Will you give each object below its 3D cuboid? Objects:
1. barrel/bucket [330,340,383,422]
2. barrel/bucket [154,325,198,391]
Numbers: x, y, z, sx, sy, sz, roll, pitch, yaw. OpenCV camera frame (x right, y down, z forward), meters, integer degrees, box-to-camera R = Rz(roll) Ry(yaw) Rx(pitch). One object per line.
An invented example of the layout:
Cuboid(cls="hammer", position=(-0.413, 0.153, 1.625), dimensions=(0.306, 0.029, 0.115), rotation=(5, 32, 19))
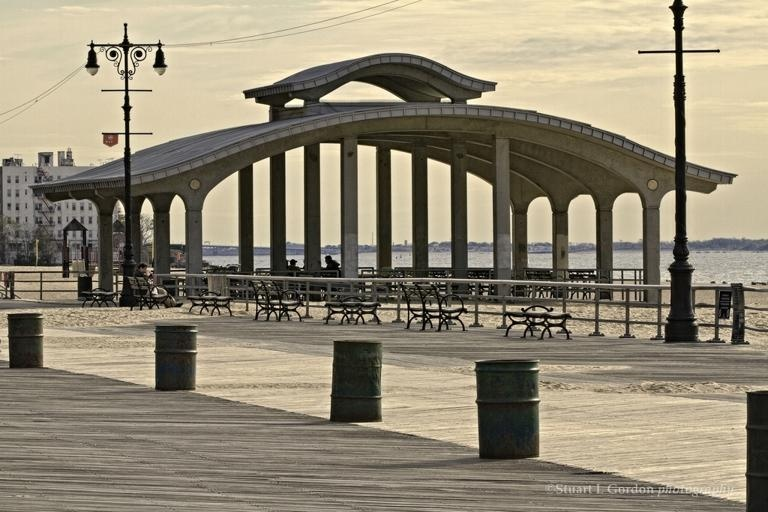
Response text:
Cuboid(cls="barrel/bucket", position=(-0.494, 2.208, 34.767), dimensions=(0.926, 1.448, 0.323), rotation=(1, -3, -3))
Cuboid(cls="barrel/bucket", position=(-3.982, 1.928, 37.452), dimensions=(0.779, 1.220, 0.742), rotation=(0, 0, 0))
